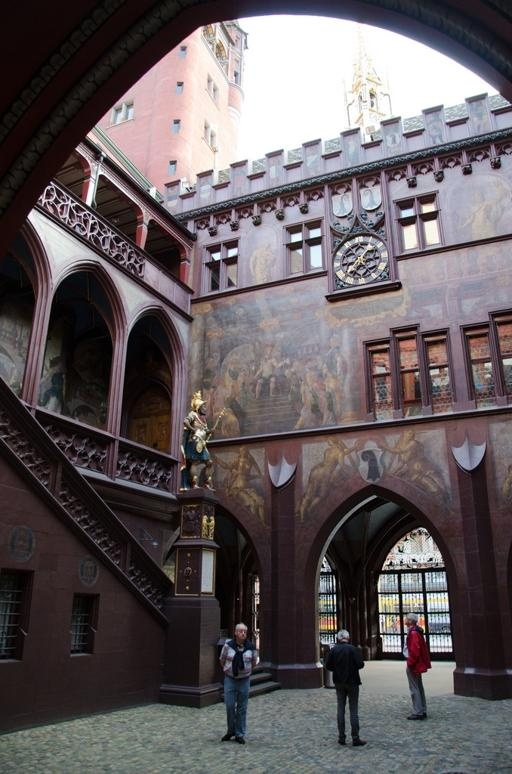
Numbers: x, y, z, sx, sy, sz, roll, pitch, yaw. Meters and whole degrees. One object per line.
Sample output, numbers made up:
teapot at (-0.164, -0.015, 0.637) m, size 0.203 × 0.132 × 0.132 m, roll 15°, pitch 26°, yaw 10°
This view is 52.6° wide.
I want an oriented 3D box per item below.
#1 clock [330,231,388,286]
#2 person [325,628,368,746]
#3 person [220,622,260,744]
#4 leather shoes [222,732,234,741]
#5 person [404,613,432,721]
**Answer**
clock at (2.698, -3.283, 13.309) m, size 1.385 × 1.544 × 0.181 m, roll -7°, pitch -28°, yaw 16°
person at (1.046, 3.460, 6.003) m, size 0.417 × 1.192 × 1.618 m, roll -4°, pitch -20°, yaw 8°
person at (-0.200, 3.313, 5.815) m, size 0.372 × 1.209 × 0.678 m, roll -1°, pitch -19°, yaw -2°
leather shoes at (-0.305, 3.791, 5.620) m, size 0.060 × 0.085 × 0.191 m, roll -6°, pitch -35°, yaw 20°
person at (2.189, 3.822, 7.078) m, size 0.348 × 1.360 × 1.140 m, roll -6°, pitch -20°, yaw 13°
